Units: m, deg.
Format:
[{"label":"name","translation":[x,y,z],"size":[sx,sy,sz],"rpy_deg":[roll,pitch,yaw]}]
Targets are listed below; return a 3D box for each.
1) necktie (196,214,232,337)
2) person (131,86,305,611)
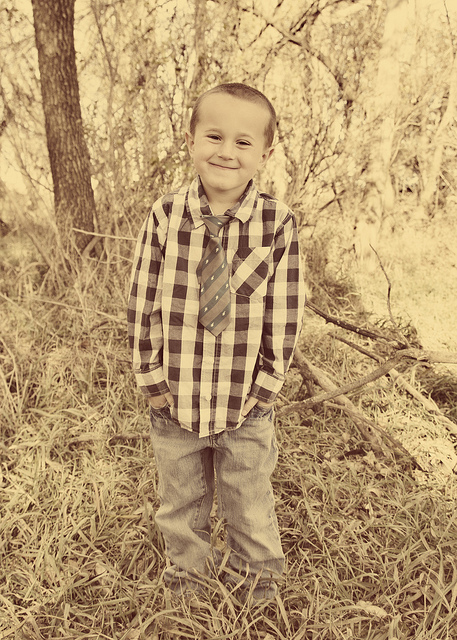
[{"label":"necktie","translation":[-0.045,-0.130,1.858],"size":[0.106,0.352,0.113],"rpy_deg":[1,23,-4]},{"label":"person","translation":[-0.039,0.174,1.979],"size":[0.538,1.704,0.404],"rpy_deg":[-1,23,-7]}]
